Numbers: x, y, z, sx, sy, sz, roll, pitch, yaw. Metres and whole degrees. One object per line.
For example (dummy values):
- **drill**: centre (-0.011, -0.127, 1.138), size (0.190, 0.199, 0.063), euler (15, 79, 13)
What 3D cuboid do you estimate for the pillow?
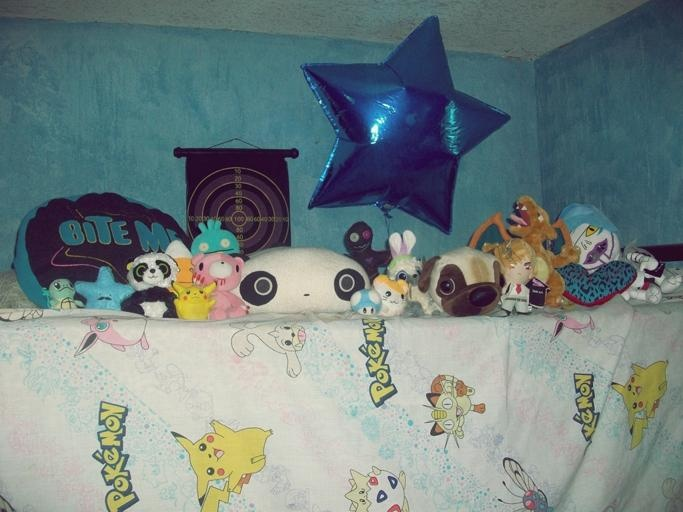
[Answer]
- **pillow**: centre (-1.133, -0.040, 4.149), size (0.556, 0.588, 0.103), euler (9, -31, -29)
